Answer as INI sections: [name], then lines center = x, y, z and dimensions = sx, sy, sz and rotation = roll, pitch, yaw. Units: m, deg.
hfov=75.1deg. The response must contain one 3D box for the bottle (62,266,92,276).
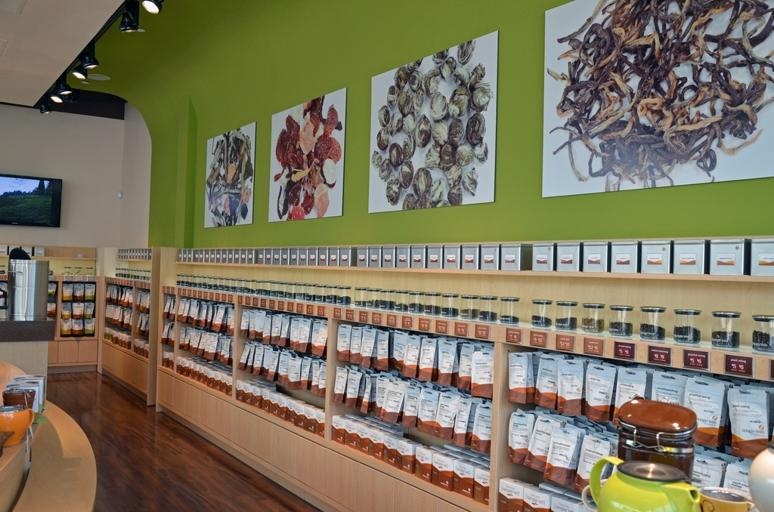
[bottle]
center = -5.760, 0.260, 9.456
dimensions = 0.277, 0.168, 0.277
rotation = 1, 3, 0
